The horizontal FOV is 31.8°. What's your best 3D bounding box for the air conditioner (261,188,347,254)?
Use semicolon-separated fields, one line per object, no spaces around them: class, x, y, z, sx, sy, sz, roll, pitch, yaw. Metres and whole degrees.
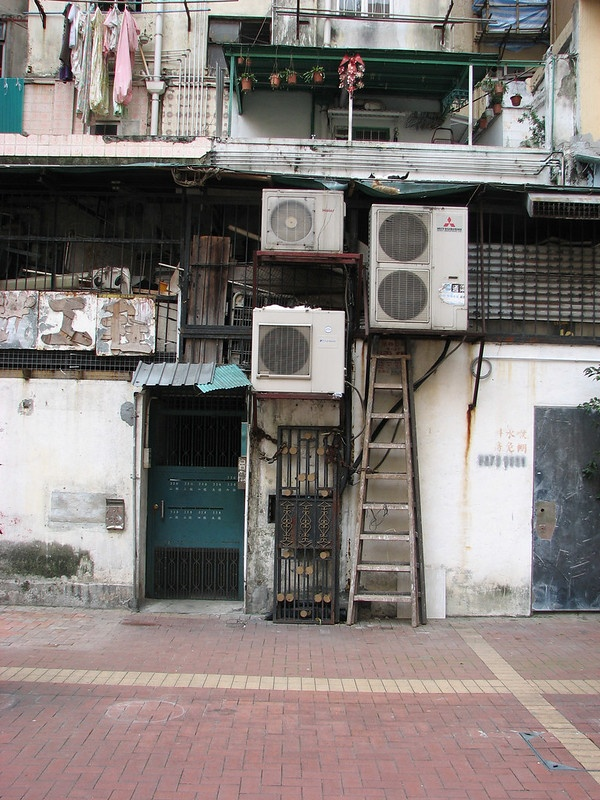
air conditioner;0.020;-1.900;11.155;0.868;0.656;0.253;0;7;-5

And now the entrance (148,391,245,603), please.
entrance;-1.171;1.107;12.219;1.109;2.862;0.328;3;-38;-8

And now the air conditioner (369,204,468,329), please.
air conditioner;1.221;-1.382;11.154;0.940;1.527;0.467;1;-8;-5

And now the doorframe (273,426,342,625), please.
doorframe;0.075;1.319;11.384;0.706;2.006;0.638;1;7;2
